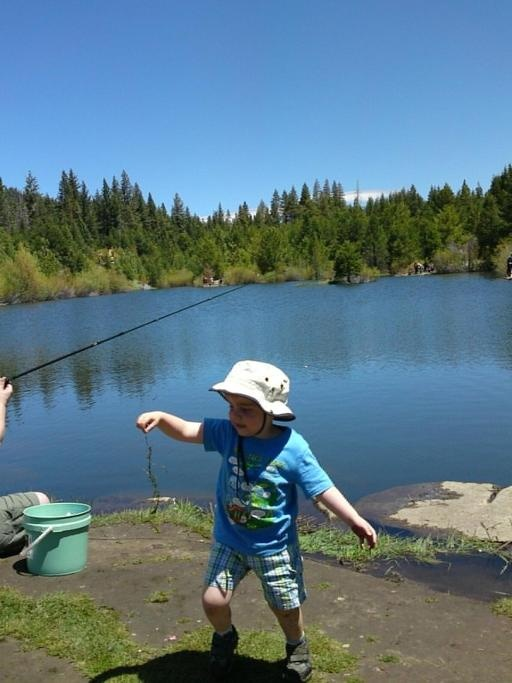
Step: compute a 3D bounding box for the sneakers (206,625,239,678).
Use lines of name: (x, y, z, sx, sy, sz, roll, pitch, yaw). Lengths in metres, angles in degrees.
sneakers: (-0.165, 1.368, 2.707, 0.089, 0.233, 0.112, -7, -30, 31)

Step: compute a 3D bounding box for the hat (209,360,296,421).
hat: (0.009, 0.238, 2.611, 0.306, 0.147, 0.294, 17, -2, -30)

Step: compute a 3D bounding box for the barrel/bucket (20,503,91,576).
barrel/bucket: (-1.359, 1.319, 4.086, 0.419, 0.326, 0.462, -4, -10, 25)
